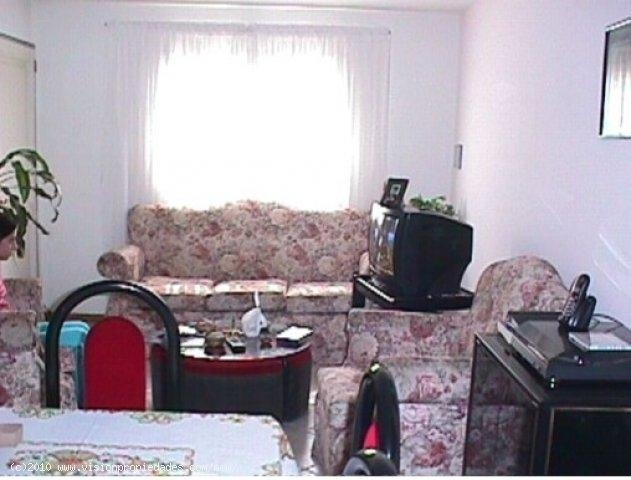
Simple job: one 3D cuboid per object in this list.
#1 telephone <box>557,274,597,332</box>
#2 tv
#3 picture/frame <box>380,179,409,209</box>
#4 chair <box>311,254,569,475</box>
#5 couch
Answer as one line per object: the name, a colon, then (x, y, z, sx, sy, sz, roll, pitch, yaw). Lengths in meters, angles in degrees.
telephone: (1.014, 0.248, 2.238, 0.098, 0.232, 0.115, 23, -15, -3)
tv: (0.659, 0.048, 3.648, 0.511, 0.554, 0.616, -3, 9, -6)
picture/frame: (0.516, -0.296, 3.645, 0.052, 0.207, 0.195, 15, -1, -35)
chair: (0.549, 0.585, 2.978, 1.153, 1.366, 0.931, 1, 0, 9)
couch: (-0.557, 0.374, 4.747, 2.163, 1.388, 0.766, 1, 5, -11)
